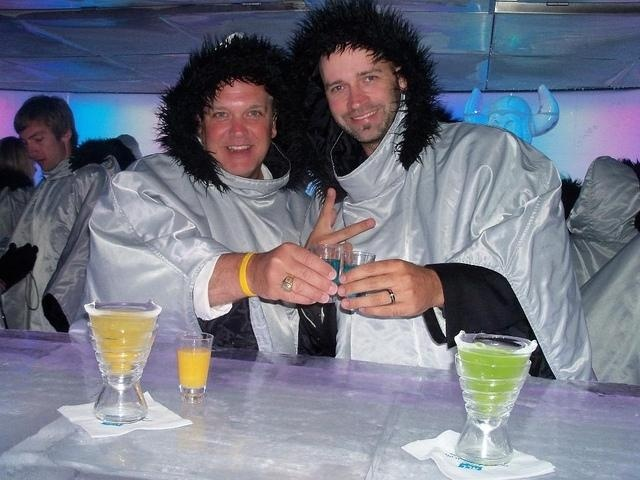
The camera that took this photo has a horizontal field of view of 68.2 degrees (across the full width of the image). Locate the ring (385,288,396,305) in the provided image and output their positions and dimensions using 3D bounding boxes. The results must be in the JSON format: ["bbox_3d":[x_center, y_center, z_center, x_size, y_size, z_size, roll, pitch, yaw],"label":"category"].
[{"bbox_3d":[0.264,0.209,1.745,0.016,0.047,0.051,-7,21,-19],"label":"ring"}]

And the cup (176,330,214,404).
[{"bbox_3d":[-0.338,0.336,1.276,0.090,0.140,0.186,2,4,-14],"label":"cup"}]

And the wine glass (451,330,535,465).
[{"bbox_3d":[0.367,0.337,1.041,0.164,0.250,0.168,6,6,28],"label":"wine glass"}]

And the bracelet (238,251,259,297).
[{"bbox_3d":[-0.288,0.140,1.860,0.066,0.175,0.091,2,5,-21],"label":"bracelet"}]

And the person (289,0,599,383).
[{"bbox_3d":[0.502,-0.310,2.215,0.878,1.675,1.217,1,5,-28],"label":"person"}]

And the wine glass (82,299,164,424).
[{"bbox_3d":[-0.460,0.288,1.108,0.158,0.249,0.118,1,6,-24],"label":"wine glass"}]

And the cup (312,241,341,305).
[{"bbox_3d":[0.049,0.095,1.873,0.149,0.220,0.145,2,-31,1],"label":"cup"}]
